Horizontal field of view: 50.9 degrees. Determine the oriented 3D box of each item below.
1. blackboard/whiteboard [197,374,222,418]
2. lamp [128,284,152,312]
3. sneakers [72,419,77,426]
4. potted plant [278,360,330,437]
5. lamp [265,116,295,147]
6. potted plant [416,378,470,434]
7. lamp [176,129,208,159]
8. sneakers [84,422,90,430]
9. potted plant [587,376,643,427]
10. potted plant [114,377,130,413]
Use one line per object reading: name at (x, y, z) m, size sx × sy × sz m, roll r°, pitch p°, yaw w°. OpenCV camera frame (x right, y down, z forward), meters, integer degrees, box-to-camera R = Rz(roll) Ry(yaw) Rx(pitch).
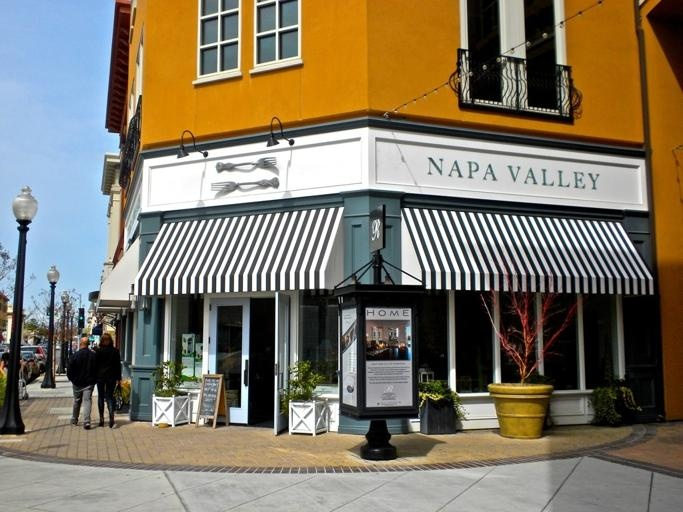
blackboard/whiteboard at (-3.051, 3.283, 16.501) m, size 0.542 × 1.064 × 0.408 m, roll -1°, pitch -2°, yaw 22°
lamp at (-5.022, 1.023, 17.827) m, size 0.505 × 0.634 × 2.473 m, roll 1°, pitch -2°, yaw -16°
sneakers at (-6.168, 3.852, 16.546) m, size 0.094 × 0.127 × 0.269 m, roll 3°, pitch -13°, yaw -23°
potted plant at (-0.824, 3.131, 15.928) m, size 0.963 × 1.537 × 0.904 m, roll -1°, pitch -2°, yaw 23°
lamp at (-1.319, -2.928, 16.908) m, size 0.419 × 0.821 × 0.806 m, roll -6°, pitch -2°, yaw 35°
potted plant at (2.178, 3.349, 15.843) m, size 1.044 × 1.120 × 0.503 m, roll 0°, pitch -2°, yaw -7°
lamp at (-3.690, -2.736, 17.562) m, size 0.435 × 0.887 × 0.999 m, roll -5°, pitch 0°, yaw 29°
sneakers at (-5.724, 3.816, 16.139) m, size 0.144 × 0.153 × 0.348 m, roll 1°, pitch -2°, yaw -21°
potted plant at (6.408, 3.454, 16.861) m, size 1.016 × 1.210 × 0.934 m, roll -1°, pitch -3°, yaw 3°
potted plant at (-6.226, 3.994, 20.388) m, size 0.397 × 1.077 × 0.788 m, roll 2°, pitch -6°, yaw 6°
